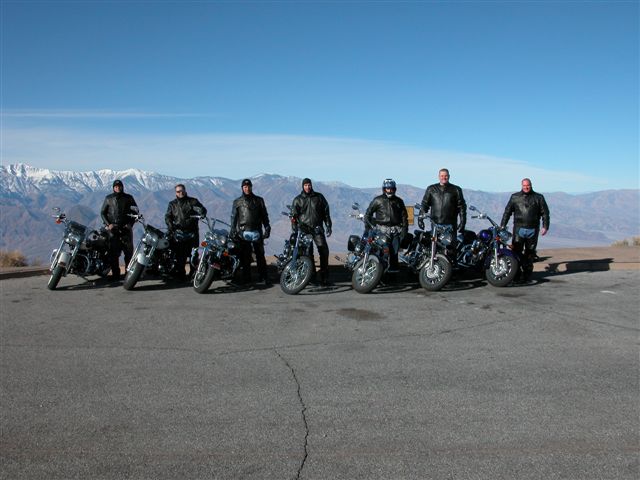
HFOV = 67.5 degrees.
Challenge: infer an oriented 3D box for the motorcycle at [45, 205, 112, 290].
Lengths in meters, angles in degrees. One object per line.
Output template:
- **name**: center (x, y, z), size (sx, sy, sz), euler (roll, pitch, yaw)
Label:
- **motorcycle**: center (-5.971, 0.219, 12.128), size (1.071, 1.336, 2.164), euler (2, 1, 17)

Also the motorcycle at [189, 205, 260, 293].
- **motorcycle**: center (-2.389, 0.335, 11.422), size (1.091, 1.231, 1.990), euler (8, 3, 14)

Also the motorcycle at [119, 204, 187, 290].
- **motorcycle**: center (-4.205, 0.244, 11.854), size (0.969, 1.337, 1.973), euler (13, 8, 5)

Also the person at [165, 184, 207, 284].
- **person**: center (-3.442, -0.287, 12.475), size (0.903, 2.457, 0.773), euler (3, 28, -6)

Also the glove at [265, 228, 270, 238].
- **glove**: center (-1.198, -0.174, 11.303), size (0.140, 0.213, 0.189), euler (-2, 0, -36)

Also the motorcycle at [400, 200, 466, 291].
- **motorcycle**: center (2.543, 0.104, 11.267), size (1.116, 1.593, 2.121), euler (1, 1, -7)

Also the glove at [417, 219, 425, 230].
- **glove**: center (2.383, -0.387, 11.250), size (0.179, 0.276, 0.146), euler (2, 29, 15)
